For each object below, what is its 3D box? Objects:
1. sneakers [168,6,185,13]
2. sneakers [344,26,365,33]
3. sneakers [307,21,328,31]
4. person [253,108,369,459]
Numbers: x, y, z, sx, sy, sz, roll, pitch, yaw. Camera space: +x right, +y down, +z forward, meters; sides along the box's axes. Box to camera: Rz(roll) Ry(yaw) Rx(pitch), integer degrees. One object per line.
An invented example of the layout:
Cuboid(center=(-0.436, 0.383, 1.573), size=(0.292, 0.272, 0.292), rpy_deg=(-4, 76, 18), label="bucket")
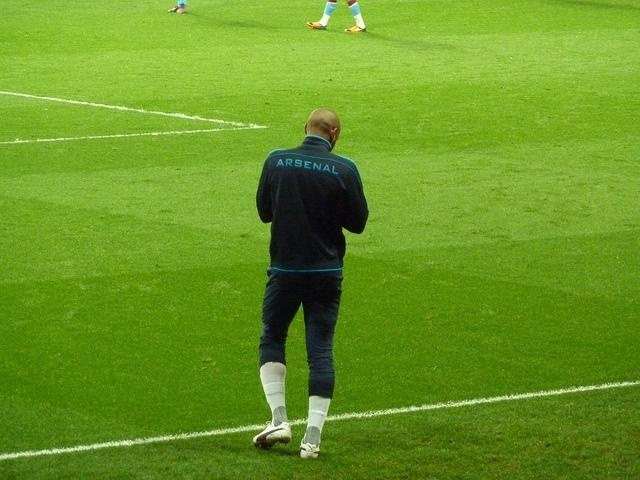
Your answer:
Cuboid(center=(-3.378, -5.359, 26.118), size=(0.429, 0.180, 0.166), rpy_deg=(9, 11, 29), label="sneakers")
Cuboid(center=(0.726, -4.409, 23.585), size=(0.455, 0.178, 0.166), rpy_deg=(5, 9, 14), label="sneakers")
Cuboid(center=(-0.070, -4.612, 24.083), size=(0.403, 0.167, 0.173), rpy_deg=(14, -2, 13), label="sneakers")
Cuboid(center=(-0.146, 0.292, 8.165), size=(0.802, 2.421, 0.852), rpy_deg=(6, 12, 15), label="person")
